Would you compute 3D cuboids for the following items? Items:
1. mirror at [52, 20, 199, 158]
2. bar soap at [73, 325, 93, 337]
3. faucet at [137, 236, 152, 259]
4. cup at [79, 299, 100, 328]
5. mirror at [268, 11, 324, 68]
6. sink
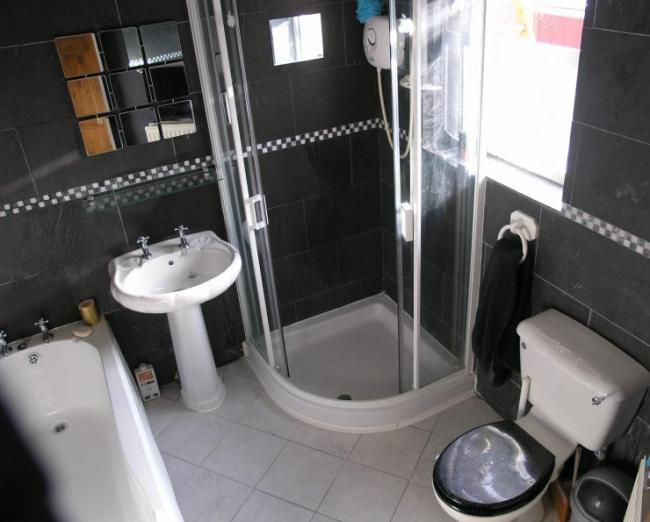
[{"bbox_3d":[-1.073,-0.923,2.609,0.575,0.629,0.009,-17,32,-14],"label":"mirror"},{"bbox_3d":[-1.413,0.406,2.883,0.066,0.026,0.071,-9,40,-29],"label":"bar soap"},{"bbox_3d":[-1.052,-0.074,2.882,0.076,0.137,0.094,7,22,17],"label":"faucet"},{"bbox_3d":[-1.381,0.305,2.911,0.089,0.138,0.088,-2,30,1],"label":"cup"},{"bbox_3d":[-0.174,-1.265,2.816,0.262,0.221,0.012,-17,32,-23],"label":"mirror"},{"bbox_3d":[-0.837,0.090,2.827,0.704,0.236,0.544,-19,31,-21],"label":"sink"}]
